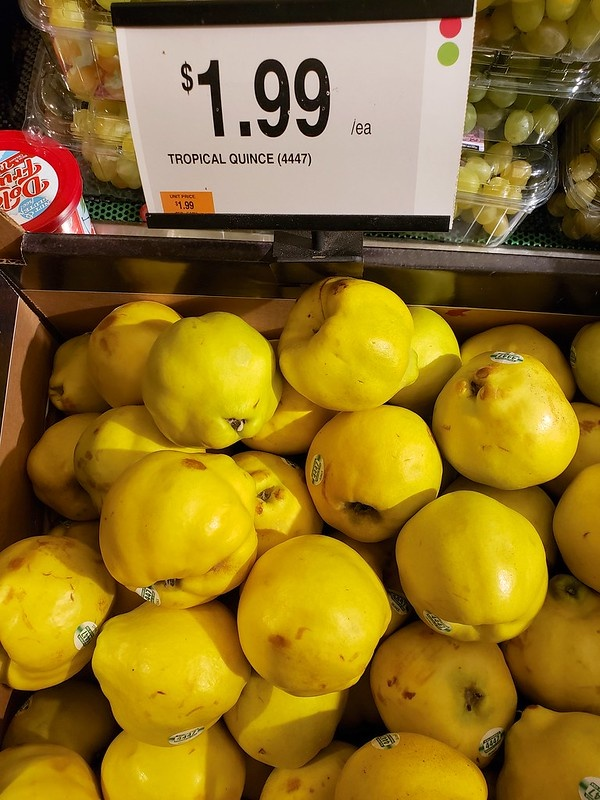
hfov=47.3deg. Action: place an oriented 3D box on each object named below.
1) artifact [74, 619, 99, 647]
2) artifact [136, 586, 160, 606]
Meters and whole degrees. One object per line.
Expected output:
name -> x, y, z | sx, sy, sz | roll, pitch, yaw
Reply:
artifact -> -0.249, 0.271, 0.799 | 0.007, 0.028, 0.029 | 24, 20, 20
artifact -> -0.171, 0.221, 0.783 | 0.042, 0.020, 0.010 | 3, 20, 46
